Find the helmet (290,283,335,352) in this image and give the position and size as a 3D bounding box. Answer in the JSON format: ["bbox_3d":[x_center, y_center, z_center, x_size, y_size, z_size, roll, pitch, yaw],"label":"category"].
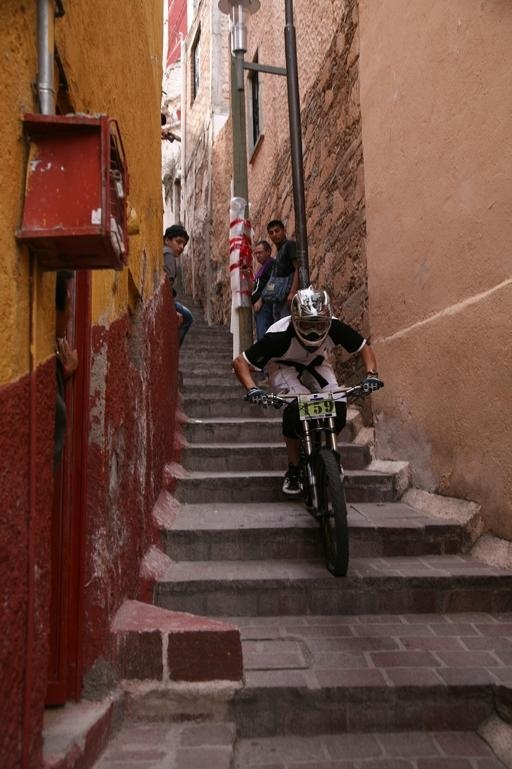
[{"bbox_3d":[0.298,-0.377,3.690,0.192,0.290,0.306,1,19,-4],"label":"helmet"}]

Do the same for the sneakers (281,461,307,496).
[{"bbox_3d":[0.244,0.605,4.272,0.154,0.484,0.234,0,77,1],"label":"sneakers"}]

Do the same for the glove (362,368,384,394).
[{"bbox_3d":[0.606,0.011,3.592,0.090,0.076,0.174,-3,24,0],"label":"glove"}]

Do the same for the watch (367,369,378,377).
[{"bbox_3d":[0.647,-0.049,3.715,0.042,0.049,0.034,4,46,10],"label":"watch"}]

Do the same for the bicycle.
[{"bbox_3d":[0.280,0.464,3.603,0.475,0.736,1.112,-5,1,-2],"label":"bicycle"}]
